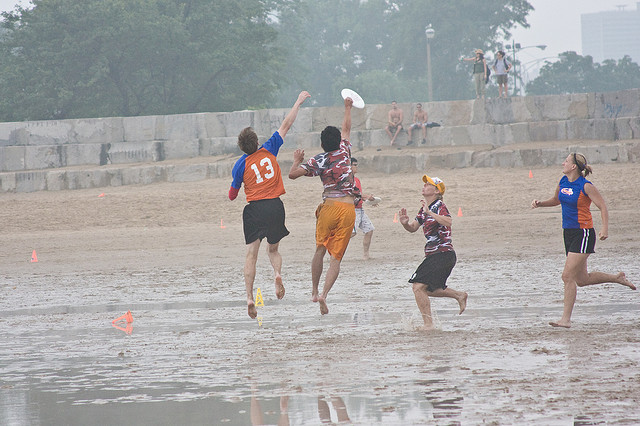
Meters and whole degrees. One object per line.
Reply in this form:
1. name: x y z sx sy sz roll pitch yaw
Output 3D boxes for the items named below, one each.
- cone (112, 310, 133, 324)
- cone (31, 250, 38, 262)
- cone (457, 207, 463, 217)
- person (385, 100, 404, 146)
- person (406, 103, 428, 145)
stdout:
1. cone: -6.785 3.488 47.645 0.621 0.330 0.360 -12 -7 13
2. cone: -11.163 1.637 54.217 0.414 0.475 0.360 -1 2 -3
3. cone: 5.628 -0.053 57.089 0.204 0.318 0.540 -2 -1 5
4. person: 3.287 -4.120 63.895 0.857 1.717 1.556 -2 -1 3
5. person: 4.296 -4.002 63.581 0.925 1.580 0.521 -3 -1 21
